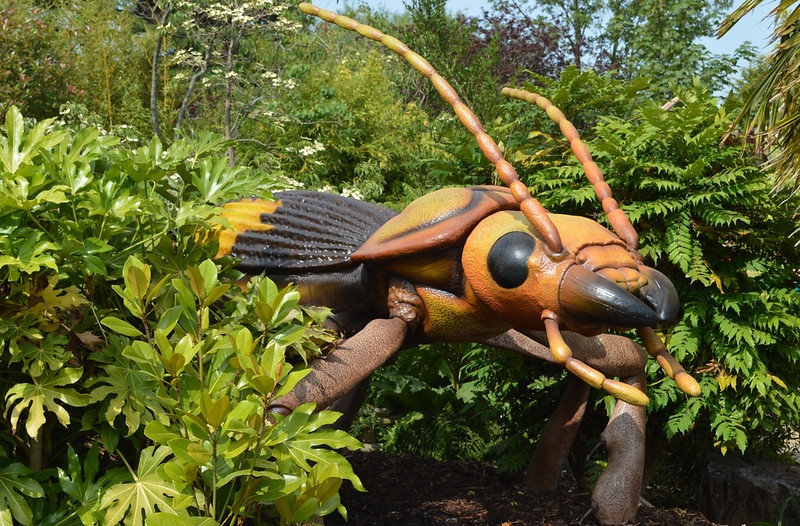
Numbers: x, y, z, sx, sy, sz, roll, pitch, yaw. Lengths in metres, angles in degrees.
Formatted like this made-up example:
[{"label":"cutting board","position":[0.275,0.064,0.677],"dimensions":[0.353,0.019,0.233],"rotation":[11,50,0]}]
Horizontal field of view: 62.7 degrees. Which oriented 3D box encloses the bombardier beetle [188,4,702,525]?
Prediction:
[{"label":"bombardier beetle","position":[0.301,0.019,3.245],"dimensions":[2.113,2.701,1.095],"rotation":[0,4,2]}]
